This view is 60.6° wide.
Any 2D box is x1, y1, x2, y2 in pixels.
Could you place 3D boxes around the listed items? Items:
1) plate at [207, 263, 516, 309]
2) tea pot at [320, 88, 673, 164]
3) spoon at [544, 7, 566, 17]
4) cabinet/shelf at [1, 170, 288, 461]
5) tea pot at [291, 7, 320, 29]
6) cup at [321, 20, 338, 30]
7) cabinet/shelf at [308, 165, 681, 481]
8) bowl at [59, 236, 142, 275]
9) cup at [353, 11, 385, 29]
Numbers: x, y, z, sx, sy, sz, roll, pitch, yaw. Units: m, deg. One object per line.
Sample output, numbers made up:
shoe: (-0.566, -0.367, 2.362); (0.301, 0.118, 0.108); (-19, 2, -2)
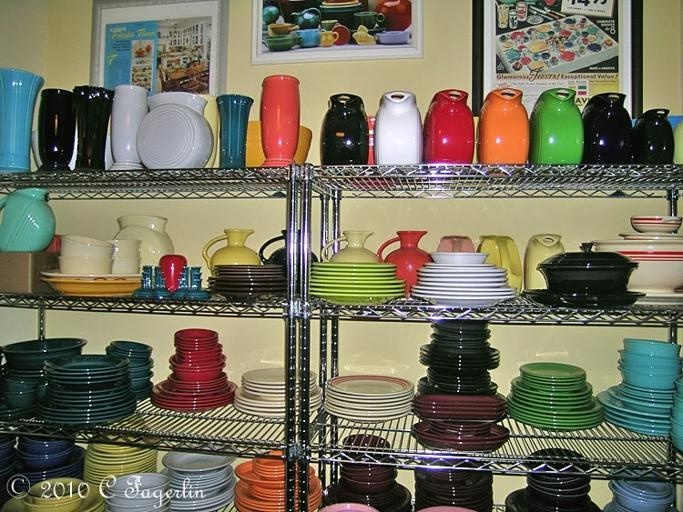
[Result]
plate: (0.107, 0.089, 2.012); (0.937, 0.145, 0.153); (0, 5, 10)
tea pot: (0.574, -0.438, 2.003); (1.173, 0.279, 0.210); (0, 4, 5)
spoon: (0.838, -0.968, 2.315); (0.093, 0.029, 0.014); (37, 26, 30)
cabinet/shelf: (-0.712, 0.229, 2.201); (1.368, 1.072, 0.484); (1, 1, 5)
tea pot: (-0.144, -0.984, 2.404); (0.106, 0.088, 0.075); (3, 32, 5)
cup: (-0.052, -0.949, 2.393); (0.051, 0.033, 0.048); (-1, 30, 1)
cabinet/shelf: (0.581, 0.240, 2.061); (1.302, 0.985, 0.427); (1, 9, 6)
bowl: (-0.883, 0.001, 2.115); (0.156, 0.099, 0.228); (3, 0, -1)
cup: (0.112, -0.962, 2.376); (0.111, 0.064, 0.067); (1, 23, 2)
